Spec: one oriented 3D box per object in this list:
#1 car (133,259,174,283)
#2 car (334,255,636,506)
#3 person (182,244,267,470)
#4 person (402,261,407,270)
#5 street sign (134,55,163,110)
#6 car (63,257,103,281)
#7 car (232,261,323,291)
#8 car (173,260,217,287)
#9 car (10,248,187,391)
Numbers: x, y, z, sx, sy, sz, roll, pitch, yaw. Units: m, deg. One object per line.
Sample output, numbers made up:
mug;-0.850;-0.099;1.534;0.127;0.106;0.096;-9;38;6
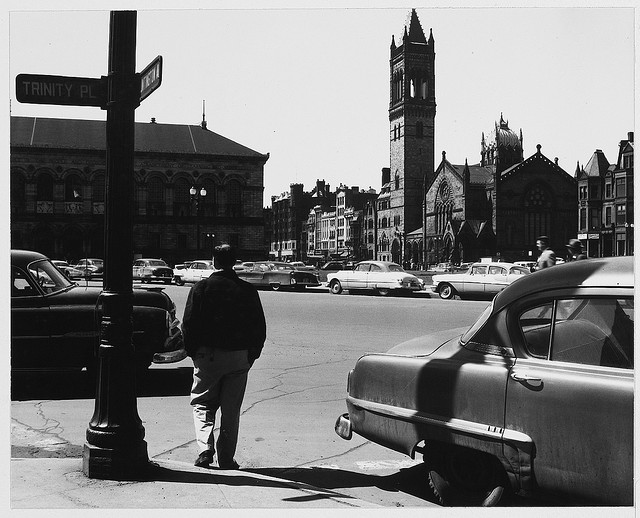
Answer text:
car;-8.006;0.520;43.302;1.377;1.029;2.767;1;2;-27
car;1.526;1.013;7.904;2.471;1.200;1.528;-3;-2;34
person;-0.895;0.903;8.554;0.764;2.033;0.519;3;0;-3
person;6.836;0.520;73.288;0.399;0.804;0.778;1;-3;-7
street sign;-1.541;-1.585;8.245;0.192;0.466;0.577;3;1;-17
car;-10.798;0.481;42.224;0.934;0.714;2.008;2;2;-34
car;-1.925;0.636;36.770;3.167;0.885;1.464;5;4;36
car;-4.523;0.522;32.817;1.963;0.995;1.217;4;1;35
car;-3.052;0.789;11.736;2.572;1.277;1.553;0;1;-11
